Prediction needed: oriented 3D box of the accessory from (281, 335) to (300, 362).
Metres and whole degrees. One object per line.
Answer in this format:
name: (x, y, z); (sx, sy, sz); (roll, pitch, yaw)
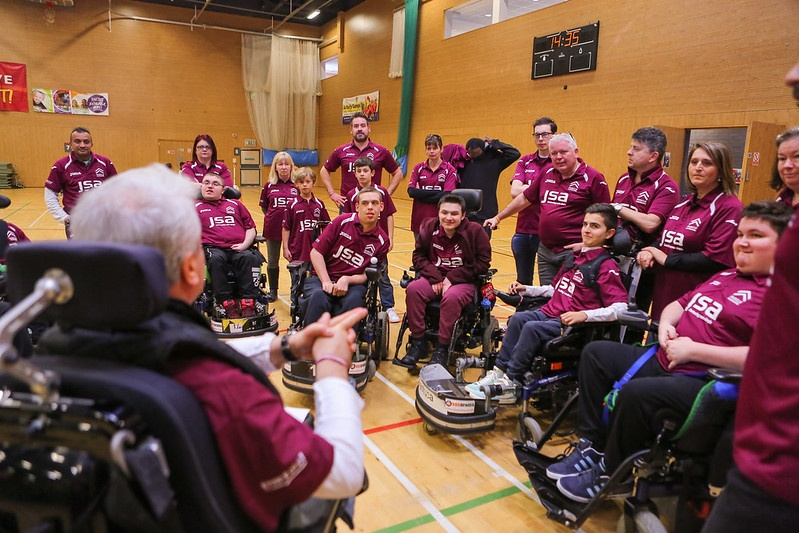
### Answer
accessory: (-0.436, 0.325, 2.287); (0.069, 0.096, 0.106); (9, 8, 1)

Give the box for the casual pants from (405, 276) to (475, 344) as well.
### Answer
casual pants: (0.448, 0.437, 4.933); (0.429, 0.705, 0.615); (-1, -35, 20)

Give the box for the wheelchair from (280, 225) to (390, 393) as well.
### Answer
wheelchair: (-0.573, 0.463, 4.978); (0.861, 1.325, 1.368); (3, 2, 6)

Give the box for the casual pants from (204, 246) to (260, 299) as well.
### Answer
casual pants: (-1.669, 0.129, 5.838); (0.441, 0.623, 0.590); (3, -22, -30)

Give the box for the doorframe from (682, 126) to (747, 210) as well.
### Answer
doorframe: (5.956, -1.875, 10.885); (1.198, 1.542, 1.243); (-3, 15, -28)

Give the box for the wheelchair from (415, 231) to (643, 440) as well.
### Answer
wheelchair: (0.875, 0.436, 4.179); (1.544, 1.294, 0.918); (-4, 11, -7)

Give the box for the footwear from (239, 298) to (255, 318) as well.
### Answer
footwear: (-1.510, 0.415, 5.636); (0.174, 0.218, 0.507); (1, -2, -18)

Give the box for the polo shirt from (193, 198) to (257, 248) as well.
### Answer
polo shirt: (-1.865, -0.456, 5.980); (0.681, 0.584, 0.345); (-12, 7, -21)

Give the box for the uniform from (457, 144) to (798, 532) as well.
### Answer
uniform: (1.697, 0.615, 4.016); (1.937, 2.017, 1.397); (5, -1, -19)

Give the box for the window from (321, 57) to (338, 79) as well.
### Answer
window: (-2.626, -7.577, 21.607); (0.160, 0.821, 1.215); (-7, 8, -37)

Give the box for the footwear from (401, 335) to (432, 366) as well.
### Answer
footwear: (0.137, 0.755, 4.991); (0.152, 0.229, 0.320); (2, -1, 34)

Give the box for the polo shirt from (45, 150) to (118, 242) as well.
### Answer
polo shirt: (-4.161, -1.004, 7.565); (0.919, 1.007, 0.547); (-11, 23, -42)

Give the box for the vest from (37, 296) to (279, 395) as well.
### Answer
vest: (-0.818, 0.262, 1.805); (0.370, 0.162, 0.538); (7, -1, 2)

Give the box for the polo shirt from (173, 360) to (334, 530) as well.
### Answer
polo shirt: (-0.443, 0.567, 1.923); (0.415, 0.598, 0.230); (2, 20, 29)

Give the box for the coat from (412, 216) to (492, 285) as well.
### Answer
coat: (0.444, -0.125, 5.255); (0.924, 0.782, 0.548); (1, -1, 28)
